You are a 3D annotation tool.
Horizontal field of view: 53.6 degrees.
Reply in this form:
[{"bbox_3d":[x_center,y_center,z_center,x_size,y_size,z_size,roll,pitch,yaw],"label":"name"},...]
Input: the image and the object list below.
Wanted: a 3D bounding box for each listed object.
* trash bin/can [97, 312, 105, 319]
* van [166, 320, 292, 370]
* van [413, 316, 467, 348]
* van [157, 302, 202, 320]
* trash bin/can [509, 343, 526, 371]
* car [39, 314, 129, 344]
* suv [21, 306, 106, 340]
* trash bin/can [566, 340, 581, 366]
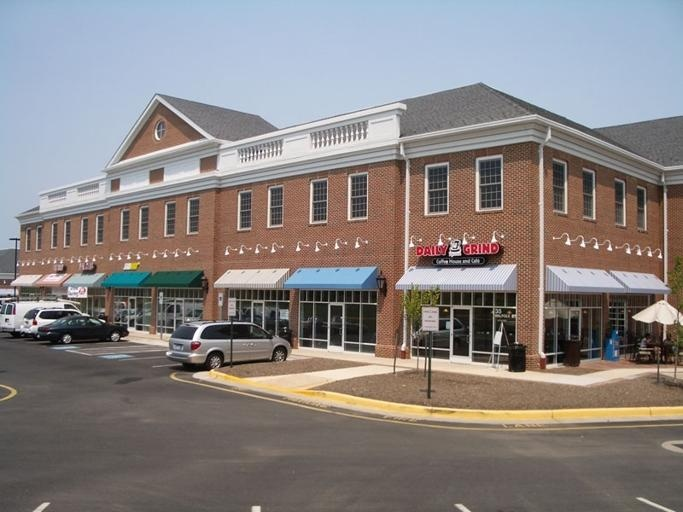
[{"bbox_3d":[-16.894,4.143,47.229,0.631,0.518,1.020,1,6,-14],"label":"trash bin/can"},{"bbox_3d":[-4.398,3.424,26.839,4.326,1.306,1.850,-1,-1,-41],"label":"van"},{"bbox_3d":[4.246,3.252,28.726,2.218,1.037,1.218,-3,-3,-1],"label":"van"},{"bbox_3d":[-9.799,3.317,40.977,2.258,1.153,1.594,4,0,36],"label":"van"},{"bbox_3d":[6.802,3.882,25.991,0.654,1.059,0.466,1,1,9],"label":"trash bin/can"},{"bbox_3d":[-14.295,4.074,37.090,4.045,1.195,1.765,-1,-1,-32],"label":"car"},{"bbox_3d":[-16.165,3.734,39.119,3.934,1.489,1.958,-2,1,-37],"label":"suv"},{"bbox_3d":[9.535,3.988,27.778,0.600,1.032,0.465,1,1,8],"label":"trash bin/can"}]
